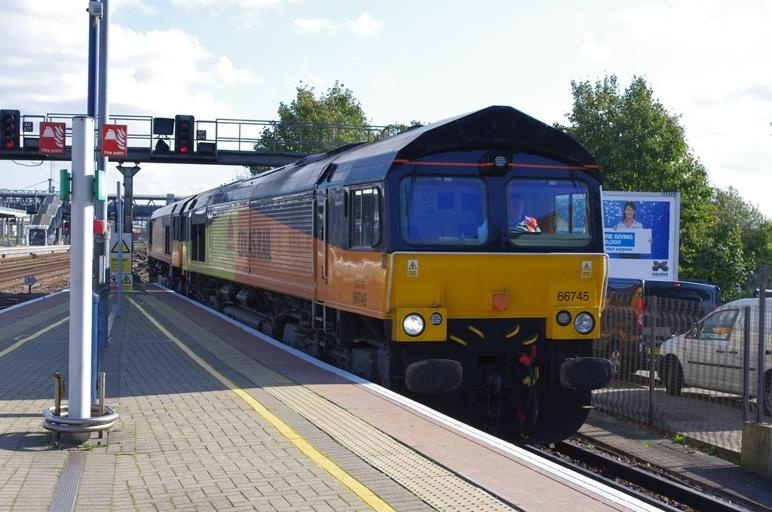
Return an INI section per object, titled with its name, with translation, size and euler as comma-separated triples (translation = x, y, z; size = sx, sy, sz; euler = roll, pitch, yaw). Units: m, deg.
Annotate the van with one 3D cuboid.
[van]
translation = 5.720, 1.650, 11.347
size = 1.271, 1.181, 2.218
euler = 2, 0, -18
